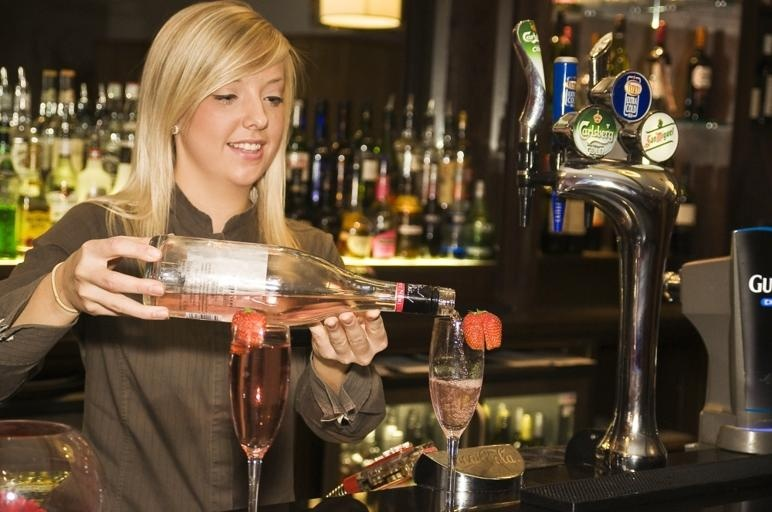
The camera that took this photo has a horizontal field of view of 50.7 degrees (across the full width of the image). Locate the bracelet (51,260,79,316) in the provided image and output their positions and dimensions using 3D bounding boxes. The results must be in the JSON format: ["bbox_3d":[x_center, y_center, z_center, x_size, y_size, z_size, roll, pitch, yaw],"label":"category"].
[{"bbox_3d":[-0.656,0.062,1.647,0.024,0.087,0.093,-9,20,7],"label":"bracelet"}]

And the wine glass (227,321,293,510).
[{"bbox_3d":[-0.223,0.295,1.503,0.105,0.396,0.124,-1,2,8],"label":"wine glass"}]

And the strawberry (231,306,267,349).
[{"bbox_3d":[-0.245,0.134,1.501,0.063,0.064,0.063,3,1,30],"label":"strawberry"}]

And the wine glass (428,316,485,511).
[{"bbox_3d":[0.133,0.301,1.627,0.101,0.378,0.173,-1,2,-5],"label":"wine glass"}]
